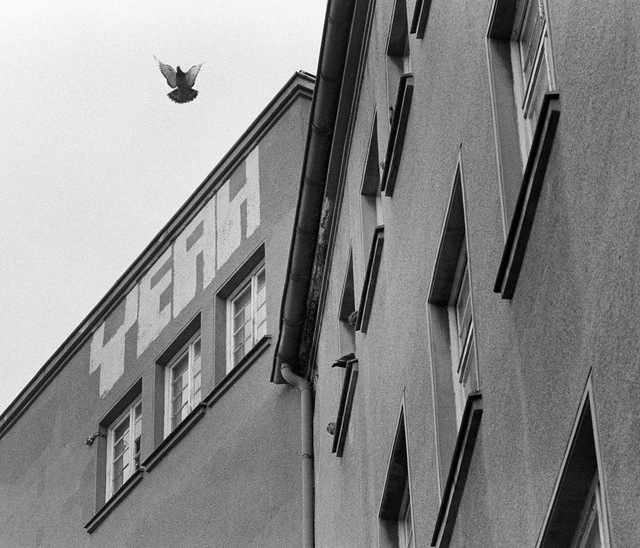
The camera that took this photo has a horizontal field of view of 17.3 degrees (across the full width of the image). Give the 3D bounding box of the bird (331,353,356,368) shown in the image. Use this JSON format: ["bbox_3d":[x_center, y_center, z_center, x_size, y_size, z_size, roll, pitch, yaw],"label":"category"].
[{"bbox_3d":[0.235,0.783,19.023,0.055,0.125,0.138,36,-99,-18],"label":"bird"}]

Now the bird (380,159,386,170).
[{"bbox_3d":[0.523,-0.919,17.201,0.045,0.027,0.110,1,-93,-14],"label":"bird"}]

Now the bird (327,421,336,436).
[{"bbox_3d":[0.138,1.483,19.933,0.079,0.112,0.112,17,-96,-25],"label":"bird"}]

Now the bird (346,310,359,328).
[{"bbox_3d":[0.309,0.415,19.100,0.046,0.100,0.154,4,-85,-14],"label":"bird"}]
